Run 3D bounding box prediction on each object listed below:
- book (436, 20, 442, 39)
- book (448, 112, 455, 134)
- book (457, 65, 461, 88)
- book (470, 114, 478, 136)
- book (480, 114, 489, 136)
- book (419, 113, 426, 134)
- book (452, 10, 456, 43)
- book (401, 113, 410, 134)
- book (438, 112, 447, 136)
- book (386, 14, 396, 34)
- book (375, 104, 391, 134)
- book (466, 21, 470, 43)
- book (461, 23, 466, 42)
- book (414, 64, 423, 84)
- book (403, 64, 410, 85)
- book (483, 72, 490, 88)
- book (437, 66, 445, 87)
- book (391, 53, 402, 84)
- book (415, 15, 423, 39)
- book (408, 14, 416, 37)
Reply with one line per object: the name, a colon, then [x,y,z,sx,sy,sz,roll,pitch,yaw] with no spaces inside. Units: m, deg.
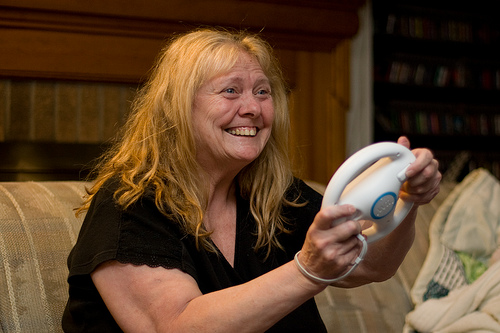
book: [1.555,-1.129,3.809,0.071,0.163,0.012,7,-6,-29]
book: [1.716,-0.370,3.933,0.077,0.180,0.022,6,-6,-29]
book: [1.768,-0.766,3.918,0.050,0.191,0.028,7,-6,-30]
book: [1.945,-0.360,4.012,0.099,0.186,0.031,6,-6,-27]
book: [2.057,-0.365,4.050,0.100,0.187,0.034,6,-6,-24]
book: [1.419,-0.352,3.819,0.077,0.156,0.016,8,-7,-41]
book: [1.701,-1.163,3.862,0.029,0.260,0.076,1,-6,24]
book: [1.257,-0.349,3.736,0.103,0.147,0.041,2,-4,-34]
book: [1.621,-0.355,3.898,0.106,0.191,0.021,7,-7,-32]
book: [1.078,-1.092,3.537,0.036,0.142,0.091,3,-29,42]
book: [1.006,-0.357,3.508,0.036,0.193,0.216,-2,-8,42]
book: [1.857,-1.148,3.942,0.049,0.190,0.010,7,-6,-32]
book: [1.810,-1.139,3.921,0.057,0.159,0.006,6,-6,-26]
book: [1.373,-0.752,3.759,0.068,0.165,0.017,5,-6,-19]
book: [1.260,-0.739,3.708,0.061,0.168,0.013,7,-7,-33]
book: [2.055,-0.754,4.022,0.070,0.137,0.007,5,-6,-18]
book: [1.589,-0.748,3.848,0.031,0.136,0.137,12,-23,8]
book: [1.143,-0.765,3.611,0.094,0.257,0.035,7,-7,-33]
book: [1.360,-1.118,3.724,0.076,0.177,0.021,4,-5,-12]
book: [1.291,-1.128,3.697,0.085,0.186,0.011,6,-6,-24]
